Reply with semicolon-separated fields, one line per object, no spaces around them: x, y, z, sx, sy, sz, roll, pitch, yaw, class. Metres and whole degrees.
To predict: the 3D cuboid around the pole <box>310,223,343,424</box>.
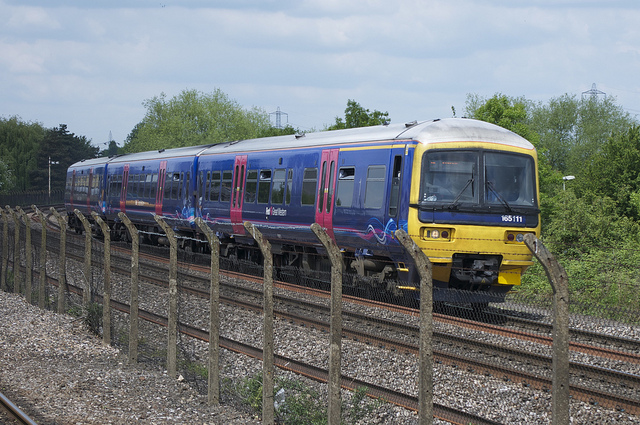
0.124;1.664;8.549;0.459;2.972;0.295;1;5;-6;pole

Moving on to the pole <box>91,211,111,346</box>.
-5.121;1.651;13.839;0.323;3.139;0.715;0;5;-20;pole

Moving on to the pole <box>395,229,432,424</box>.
1.270;1.528;7.659;0.518;2.565;0.278;1;5;-5;pole

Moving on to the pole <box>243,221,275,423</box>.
-0.918;1.818;9.386;0.494;3.263;0.332;-1;6;-31;pole
